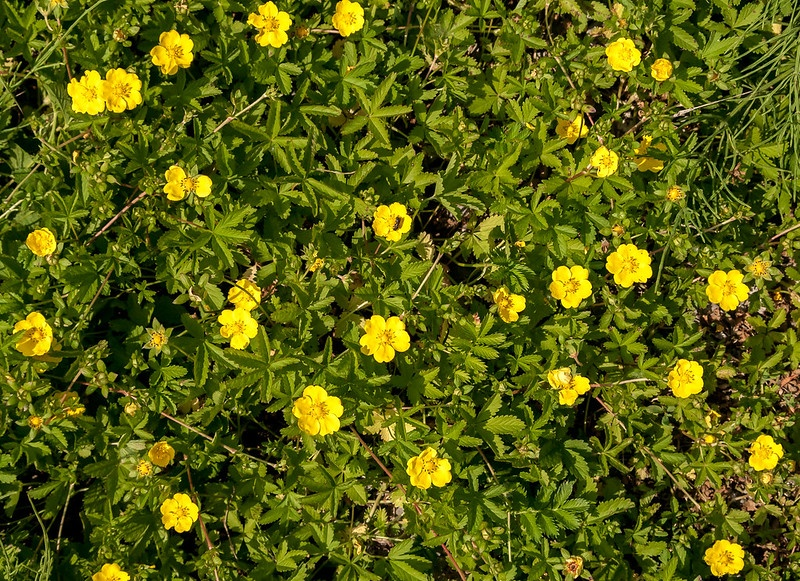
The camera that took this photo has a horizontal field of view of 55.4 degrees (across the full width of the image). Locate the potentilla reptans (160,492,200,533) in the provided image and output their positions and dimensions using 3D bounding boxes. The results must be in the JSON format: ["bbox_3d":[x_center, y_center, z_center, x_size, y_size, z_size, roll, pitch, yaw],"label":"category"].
[{"bbox_3d":[-1.353,1.278,4.609,0.187,0.194,0.087,-18,94,-9],"label":"potentilla reptans"}]

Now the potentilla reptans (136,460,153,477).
[{"bbox_3d":[-1.537,1.065,4.567,0.085,0.034,0.094,-4,86,-1],"label":"potentilla reptans"}]

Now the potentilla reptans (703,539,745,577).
[{"bbox_3d":[2.071,1.693,4.876,0.224,0.098,0.218,-39,84,-2],"label":"potentilla reptans"}]

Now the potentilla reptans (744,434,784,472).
[{"bbox_3d":[2.367,1.051,4.907,0.248,0.124,0.235,12,85,0],"label":"potentilla reptans"}]

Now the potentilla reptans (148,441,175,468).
[{"bbox_3d":[-1.457,0.996,4.646,0.142,0.074,0.159,1,79,-20],"label":"potentilla reptans"}]

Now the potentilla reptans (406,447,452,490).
[{"bbox_3d":[0.168,1.039,4.441,0.235,0.088,0.222,-27,86,-3],"label":"potentilla reptans"}]
